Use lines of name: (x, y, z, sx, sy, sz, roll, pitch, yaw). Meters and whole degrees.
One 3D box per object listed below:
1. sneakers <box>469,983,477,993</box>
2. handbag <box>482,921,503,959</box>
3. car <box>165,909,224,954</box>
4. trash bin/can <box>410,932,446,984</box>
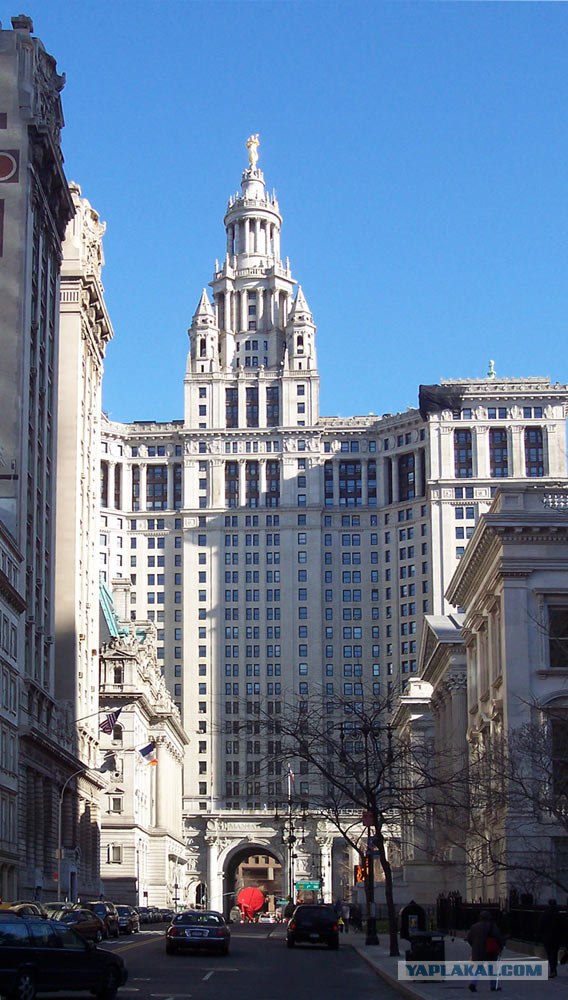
sneakers: (4.149, 10.799, 45.340, 0.103, 0.153, 0.449, 12, -4, 4)
handbag: (4.683, 9.888, 45.816, 0.377, 0.825, 0.584, -13, -18, 41)
car: (-2.581, 12.485, 59.060, 1.749, 1.288, 2.003, 0, -15, -3)
trash bin/can: (3.358, 10.747, 48.130, 0.758, 1.172, 0.650, 1, -14, -10)
